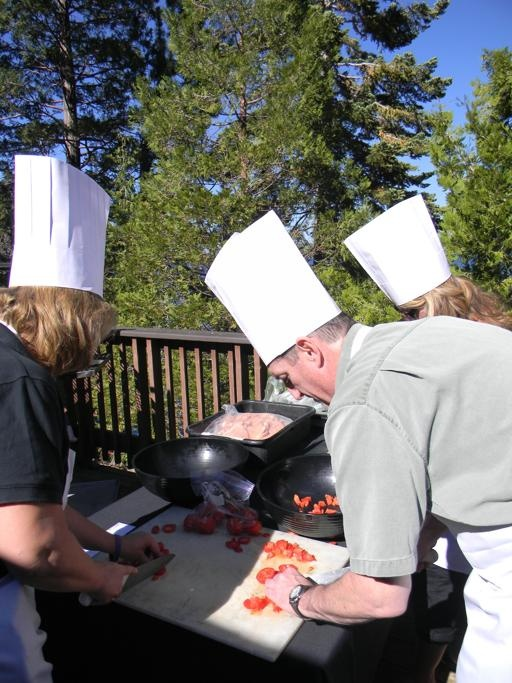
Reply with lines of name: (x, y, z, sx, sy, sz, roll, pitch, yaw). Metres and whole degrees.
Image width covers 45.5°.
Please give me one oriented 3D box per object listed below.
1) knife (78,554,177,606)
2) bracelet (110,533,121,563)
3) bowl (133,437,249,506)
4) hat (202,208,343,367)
knife: (-0.259, 0.505, 1.320, 0.028, 0.046, 0.264, 16, 9, 34)
bracelet: (-0.321, 0.481, 1.401, 0.015, 0.048, 0.046, 6, -10, -29)
bowl: (-0.163, 0.341, 1.762, 0.322, 0.169, 0.297, -1, 4, 0)
hat: (0.028, -0.122, 1.499, 0.279, 0.394, 0.294, 6, 14, 16)
